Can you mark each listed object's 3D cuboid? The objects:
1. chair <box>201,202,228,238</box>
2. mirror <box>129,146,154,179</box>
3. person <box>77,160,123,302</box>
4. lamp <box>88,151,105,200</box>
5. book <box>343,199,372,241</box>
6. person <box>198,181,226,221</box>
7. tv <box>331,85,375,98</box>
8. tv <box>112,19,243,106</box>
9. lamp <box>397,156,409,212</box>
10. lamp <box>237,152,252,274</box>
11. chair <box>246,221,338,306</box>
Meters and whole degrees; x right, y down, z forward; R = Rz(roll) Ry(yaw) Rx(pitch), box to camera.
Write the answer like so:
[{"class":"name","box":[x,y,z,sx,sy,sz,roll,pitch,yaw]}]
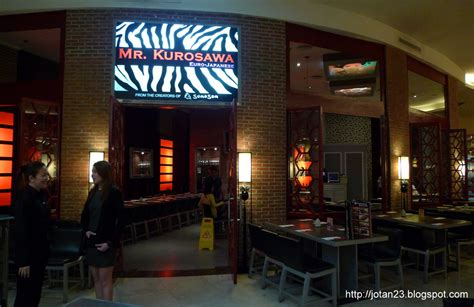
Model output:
[{"class":"chair","box":[-0.558,1.932,11.116,0.656,0.979,0.633,-5,2,1]},{"class":"mirror","box":[-3.094,0.324,12.200,0.040,0.942,1.300,-3,-4,19]},{"class":"person","box":[-2.285,1.316,6.441,0.779,2.362,0.367,0,-6,-1]},{"class":"lamp","box":[-3.169,0.367,8.405,0.267,0.798,0.247,5,-30,-17]},{"class":"book","box":[2.492,1.302,7.497,0.681,0.691,0.696,2,-3,-16]},{"class":"person","box":[-0.696,1.303,10.337,0.626,1.025,0.780,1,-6,-15]},{"class":"tv","box":[3.681,-1.978,11.870,1.324,0.251,0.935,0,-5,-1]},{"class":"tv","box":[-1.514,-2.052,8.653,2.234,1.326,0.054,0,-8,-7]},{"class":"lamp","box":[4.705,0.920,10.589,0.289,1.618,0.252,-1,7,18]},{"class":"lamp","box":[0.199,1.337,8.674,0.447,2.767,0.419,4,-10,-16]},{"class":"chair","box":[1.127,2.238,7.501,0.562,0.928,1.487,-5,4,-25]}]
